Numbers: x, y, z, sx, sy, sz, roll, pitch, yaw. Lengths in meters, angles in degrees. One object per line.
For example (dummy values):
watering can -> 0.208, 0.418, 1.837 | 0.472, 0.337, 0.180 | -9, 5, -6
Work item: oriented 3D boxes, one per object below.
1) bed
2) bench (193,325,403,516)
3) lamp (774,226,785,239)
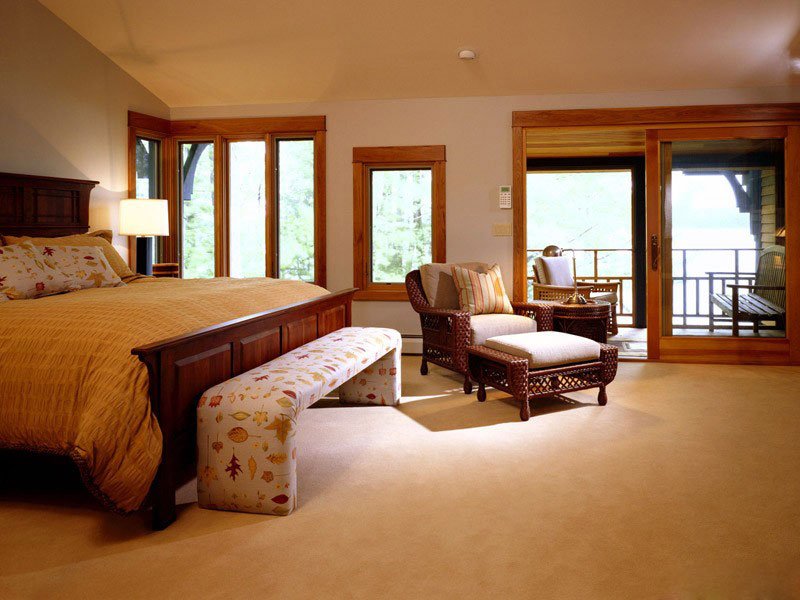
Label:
bed -> -1.374, 0.250, 3.661 | 2.322, 1.455, 2.419 | 0, 2, 8
bench -> -0.518, 0.613, 3.678 | 0.533, 0.611, 1.871 | 3, 10, 19
lamp -> 3.776, -0.669, 5.756 | 0.103, 0.076, 0.107 | -1, 4, 15
